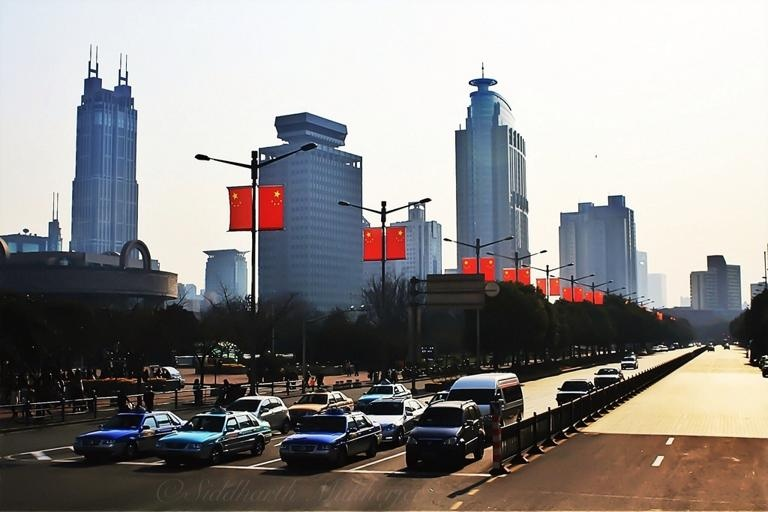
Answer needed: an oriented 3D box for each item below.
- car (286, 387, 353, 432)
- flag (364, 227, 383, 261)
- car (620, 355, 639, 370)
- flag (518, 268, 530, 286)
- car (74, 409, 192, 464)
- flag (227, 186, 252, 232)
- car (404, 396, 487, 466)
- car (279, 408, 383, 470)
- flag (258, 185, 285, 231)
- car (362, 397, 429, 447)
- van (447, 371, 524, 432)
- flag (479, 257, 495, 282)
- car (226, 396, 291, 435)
[{"bbox_3d":[-3.572,8.526,49.544,2.148,1.726,5.307,-3,-6,22],"label":"car"},{"bbox_3d":[-0.720,-0.863,59.131,1.073,2.212,1.354,3,-9,-34],"label":"flag"},{"bbox_3d":[28.729,12.733,104.391,1.594,1.410,3.888,-3,-9,17],"label":"car"},{"bbox_3d":[14.626,2.216,93.036,1.355,1.423,2.603,2,-18,12],"label":"flag"},{"bbox_3d":[-11.444,8.366,41.406,2.497,1.868,6.018,-4,-7,21],"label":"car"},{"bbox_3d":[-7.900,-2.653,49.433,1.269,2.504,1.036,0,-7,-14],"label":"flag"},{"bbox_3d":[2.755,7.875,39.491,2.595,2.581,5.809,0,-4,20],"label":"car"},{"bbox_3d":[-2.204,8.182,39.487,2.848,2.099,6.376,-4,-7,18],"label":"car"},{"bbox_3d":[-6.369,-2.754,49.977,1.699,2.740,0.629,-5,-8,25],"label":"flag"},{"bbox_3d":[0.472,8.134,44.132,2.262,1.801,5.620,-2,-3,21],"label":"car"},{"bbox_3d":[4.987,7.610,45.327,3.139,2.914,5.685,-1,-5,21],"label":"van"},{"bbox_3d":[8.850,1.258,75.724,1.878,2.849,1.867,0,2,8],"label":"flag"},{"bbox_3d":[-6.046,7.906,43.201,2.374,2.129,5.142,0,2,11],"label":"car"}]
